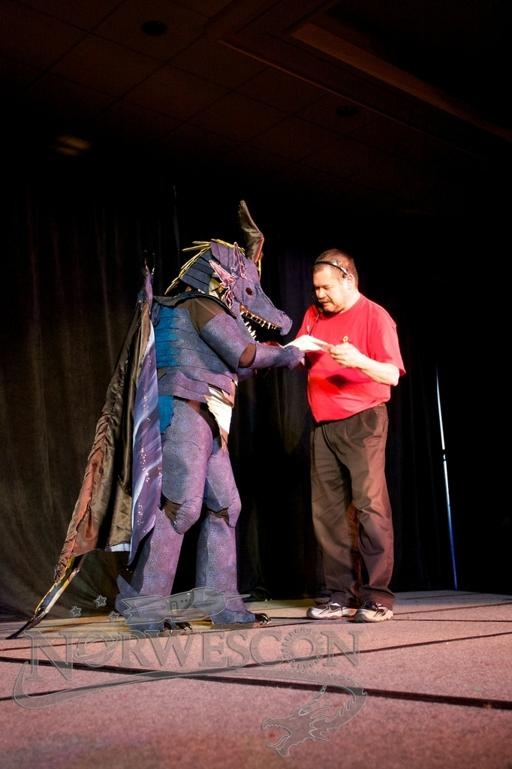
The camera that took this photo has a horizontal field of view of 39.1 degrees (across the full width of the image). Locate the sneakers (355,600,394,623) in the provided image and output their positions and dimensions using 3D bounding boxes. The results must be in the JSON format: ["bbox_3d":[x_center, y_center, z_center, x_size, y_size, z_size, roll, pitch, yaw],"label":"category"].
[{"bbox_3d":[0.346,0.665,2.137,0.120,0.049,0.044,15,-25,-30],"label":"sneakers"}]

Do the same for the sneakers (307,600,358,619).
[{"bbox_3d":[0.235,0.708,2.281,0.184,0.061,0.059,10,-15,-24],"label":"sneakers"}]
